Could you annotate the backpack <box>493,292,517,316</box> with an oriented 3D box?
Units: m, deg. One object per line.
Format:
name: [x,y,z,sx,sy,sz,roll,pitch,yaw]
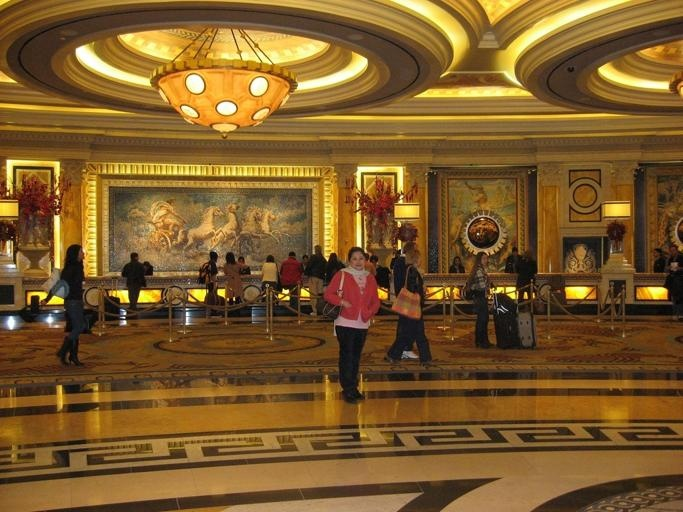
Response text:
backpack: [2.491,0.752,9.436,0.349,0.380,0.138,-1,9,0]

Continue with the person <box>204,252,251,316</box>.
person: [-2.783,0.624,13.924,0.857,1.441,1.434,1,1,-3]

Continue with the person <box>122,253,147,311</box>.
person: [-4.721,0.567,13.743,0.467,1.262,1.001,1,1,-19]

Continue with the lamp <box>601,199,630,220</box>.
lamp: [6.258,-1.048,13.750,0.647,0.320,0.590,1,-1,12]

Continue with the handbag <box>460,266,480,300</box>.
handbag: [2.039,0.442,9.629,0.197,0.525,0.658,1,1,11]

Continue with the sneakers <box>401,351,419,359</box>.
sneakers: [0.935,1.395,8.530,0.333,0.115,0.103,1,-3,-3]

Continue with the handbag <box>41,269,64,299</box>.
handbag: [-3.783,0.345,7.950,0.242,0.354,0.423,1,1,-30]

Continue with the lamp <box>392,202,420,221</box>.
lamp: [1.531,-1.064,14.378,0.499,0.242,0.450,1,0,6]

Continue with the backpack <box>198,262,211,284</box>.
backpack: [-3.115,0.382,13.718,0.212,0.505,0.575,1,1,-12]

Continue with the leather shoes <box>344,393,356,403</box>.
leather shoes: [0.088,1.473,6.314,0.134,0.084,0.090,1,1,-3]

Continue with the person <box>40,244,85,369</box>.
person: [-3.662,0.648,8.089,0.372,1.607,0.598,1,1,-24]
